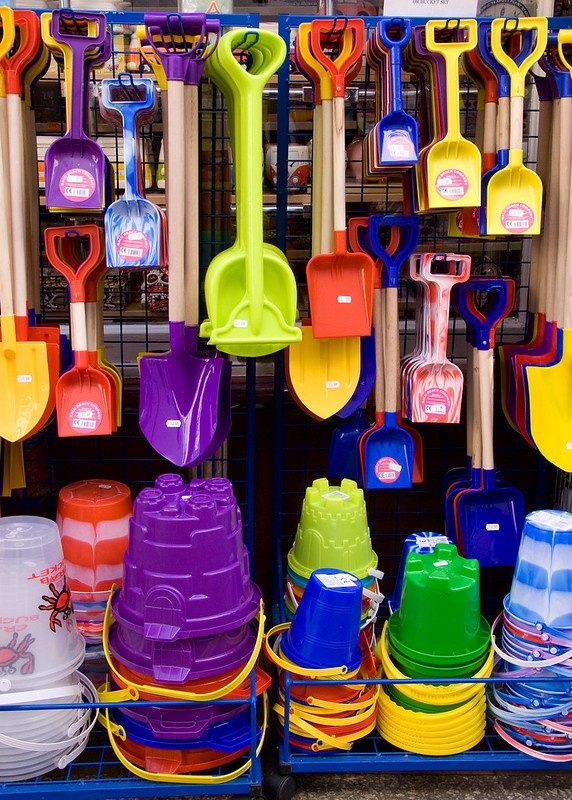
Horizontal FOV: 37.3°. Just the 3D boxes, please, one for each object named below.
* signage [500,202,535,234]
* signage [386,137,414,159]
[{"bbox_3d":[0.457,-0.360,1.676,0.066,0.059,0.023,4,11,16],"label":"signage"},{"bbox_3d":[0.216,-0.473,1.597,0.055,0.045,0.011,1,10,5],"label":"signage"}]
